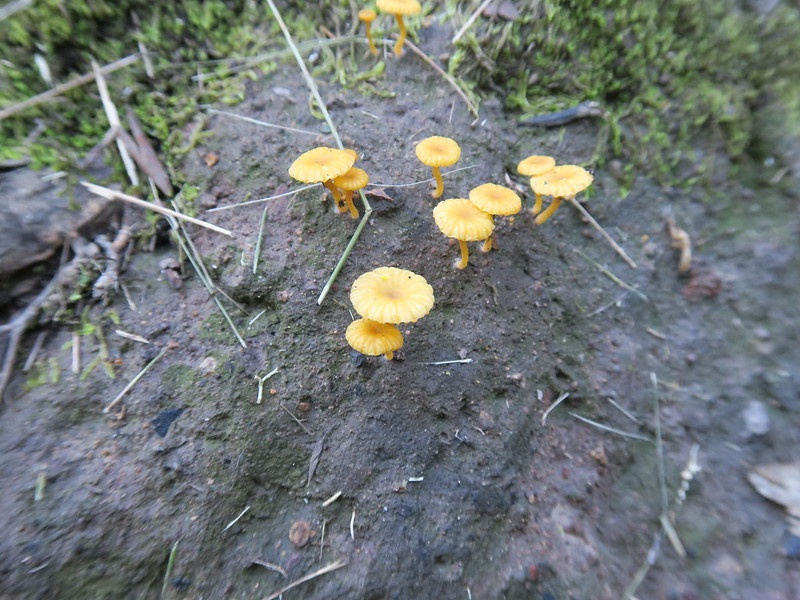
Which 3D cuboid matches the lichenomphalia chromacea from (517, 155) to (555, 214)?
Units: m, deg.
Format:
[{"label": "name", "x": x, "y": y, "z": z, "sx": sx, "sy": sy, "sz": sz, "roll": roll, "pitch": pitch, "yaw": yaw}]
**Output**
[{"label": "lichenomphalia chromacea", "x": 1.533, "y": -1.314, "z": 6.517, "sx": 0.376, "sy": 0.549, "sz": 0.395, "roll": -31, "pitch": 56, "yaw": -8}]
